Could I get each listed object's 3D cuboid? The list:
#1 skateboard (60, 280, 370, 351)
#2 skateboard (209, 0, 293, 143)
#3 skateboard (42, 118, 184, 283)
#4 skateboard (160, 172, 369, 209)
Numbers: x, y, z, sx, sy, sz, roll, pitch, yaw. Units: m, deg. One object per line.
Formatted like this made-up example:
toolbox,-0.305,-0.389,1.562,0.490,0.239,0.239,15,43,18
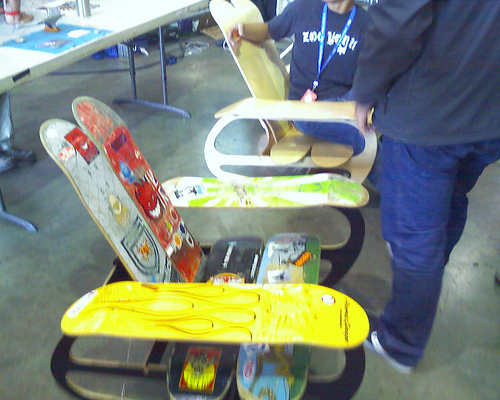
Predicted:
skateboard,-0.114,0.370,1.685,1.004,0.046,0.250,1,43,3
skateboard,0.012,-0.797,2.970,0.139,1.161,0.300,-8,18,43
skateboard,-0.529,0.052,1.993,0.432,0.733,0.298,23,45,27
skateboard,0.080,-0.042,2.341,0.813,0.062,0.222,1,43,4
